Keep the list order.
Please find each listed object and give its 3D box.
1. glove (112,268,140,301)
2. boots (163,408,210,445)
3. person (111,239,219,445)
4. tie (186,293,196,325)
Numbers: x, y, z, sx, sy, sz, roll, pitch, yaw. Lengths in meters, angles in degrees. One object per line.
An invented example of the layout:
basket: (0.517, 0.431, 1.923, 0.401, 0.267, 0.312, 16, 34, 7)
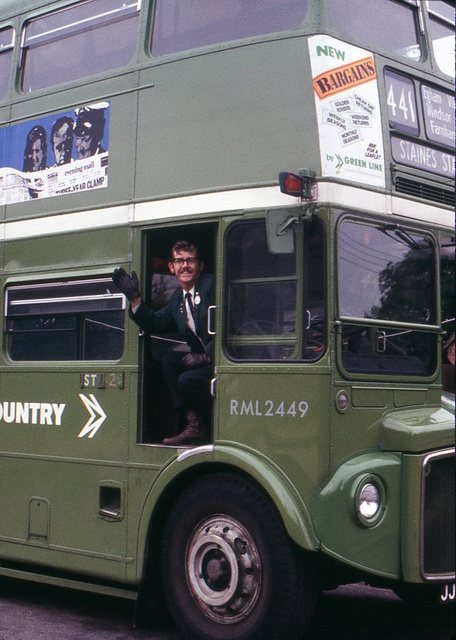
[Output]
glove: (-0.687, -0.246, 5.070, 0.159, 0.235, 0.061, -2, -19, -6)
boots: (-0.295, 0.732, 5.060, 0.350, 0.279, 0.142, -2, -7, 37)
person: (-0.285, 0.137, 5.222, 0.718, 1.383, 0.545, -2, 19, -1)
tie: (-0.253, -0.070, 5.111, 0.038, 0.190, 0.155, -6, -11, 1)
